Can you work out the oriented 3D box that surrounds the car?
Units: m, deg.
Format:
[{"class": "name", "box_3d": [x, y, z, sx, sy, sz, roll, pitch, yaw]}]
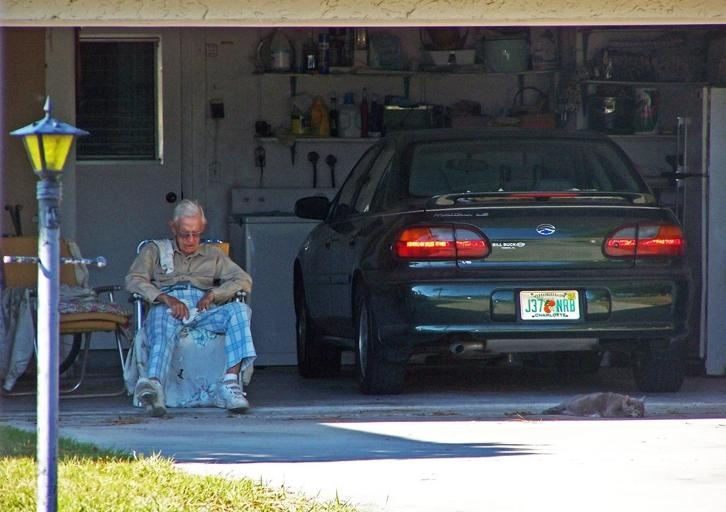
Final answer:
[{"class": "car", "box_3d": [1.097, -0.049, 12.593, 2.392, 1.659, 5.212, 0, 2, 1]}]

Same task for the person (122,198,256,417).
[{"class": "person", "box_3d": [-1.300, 0.357, 12.030, 0.946, 1.527, 1.021, -1, 6, -6]}]

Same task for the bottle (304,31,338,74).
[{"class": "bottle", "box_3d": [-0.429, -2.034, 16.000, 0.358, 0.426, 0.195, -1, 6, -9]}]

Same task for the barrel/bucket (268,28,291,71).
[{"class": "barrel/bucket", "box_3d": [-0.810, -2.030, 15.883, 0.257, 0.358, 0.103, -2, 0, -6]}]
